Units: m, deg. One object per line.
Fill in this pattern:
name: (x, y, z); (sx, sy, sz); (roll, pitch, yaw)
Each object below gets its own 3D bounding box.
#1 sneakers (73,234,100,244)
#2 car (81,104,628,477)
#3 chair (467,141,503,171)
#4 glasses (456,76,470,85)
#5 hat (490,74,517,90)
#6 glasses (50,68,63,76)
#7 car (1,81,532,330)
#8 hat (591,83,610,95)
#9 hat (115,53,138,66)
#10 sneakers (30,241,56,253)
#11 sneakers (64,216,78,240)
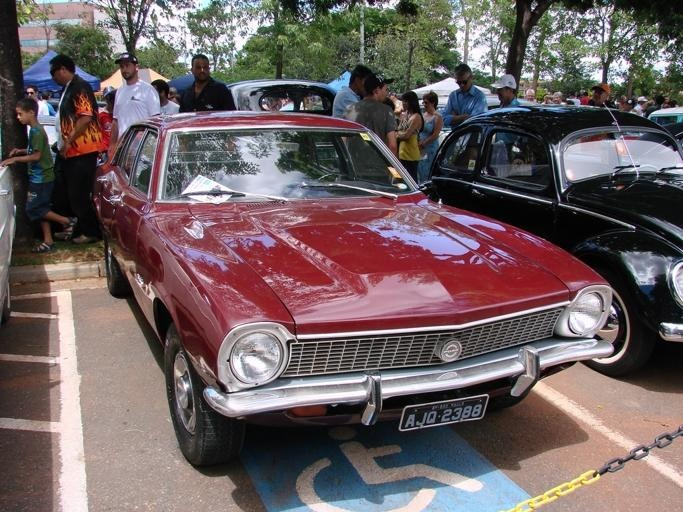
sneakers: (-3.956, -0.259, 7.001); (0.351, 0.115, 0.136); (2, 1, -41)
car: (-0.062, 0.098, 3.070); (2.271, 1.986, 2.785); (-12, 23, -34)
chair: (1.551, -1.141, 5.090); (0.289, 0.390, 0.373); (3, 19, -10)
glasses: (2.031, -2.895, 7.484); (0.161, 0.056, 0.158); (5, 36, 17)
hat: (2.559, -2.714, 7.016); (0.419, 0.195, 0.274); (7, 24, 2)
glasses: (-4.101, -2.644, 6.447); (0.113, 0.146, 0.056); (-17, 67, -39)
car: (-0.705, -0.687, 3.586); (1.794, 0.890, 2.671); (-9, 24, -27)
hat: (4.626, -2.953, 7.939); (0.371, 0.150, 0.250); (1, 19, 0)
hat: (-3.184, -2.969, 6.729); (0.241, 0.148, 0.321); (1, 6, 15)
sneakers: (-4.337, -0.124, 6.476); (0.126, 0.129, 0.350); (2, 1, 38)
sneakers: (-4.199, -0.423, 7.038); (0.163, 0.377, 0.110); (24, 21, 14)
